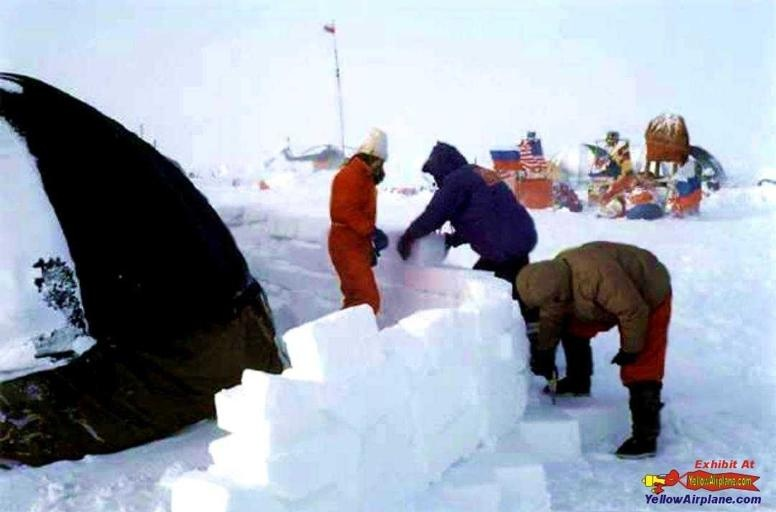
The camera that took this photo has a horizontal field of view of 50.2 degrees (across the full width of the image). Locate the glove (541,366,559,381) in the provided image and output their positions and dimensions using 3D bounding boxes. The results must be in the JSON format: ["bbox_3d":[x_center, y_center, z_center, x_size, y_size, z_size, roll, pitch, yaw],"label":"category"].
[{"bbox_3d":[1.134,0.831,5.780,0.083,0.041,0.116,0,-1,-5],"label":"glove"}]

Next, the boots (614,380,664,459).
[{"bbox_3d":[1.708,1.091,5.655,0.377,0.585,0.293,-3,-3,-17],"label":"boots"}]

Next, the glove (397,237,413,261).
[{"bbox_3d":[0.128,-0.045,6.365,0.066,0.167,0.115,0,5,-29],"label":"glove"}]

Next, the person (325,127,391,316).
[{"bbox_3d":[-0.182,-0.250,6.493,0.496,1.399,0.517,-10,18,-29],"label":"person"}]

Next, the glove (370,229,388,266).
[{"bbox_3d":[-0.069,-0.061,6.598,0.179,0.251,0.092,19,2,7],"label":"glove"}]

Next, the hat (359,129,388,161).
[{"bbox_3d":[-0.123,-0.879,6.550,0.233,0.198,0.227,8,0,33],"label":"hat"}]

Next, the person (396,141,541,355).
[{"bbox_3d":[0.637,-0.202,6.360,1.063,1.211,0.711,2,16,12],"label":"person"}]

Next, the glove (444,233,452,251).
[{"bbox_3d":[0.482,-0.092,6.427,0.035,0.115,0.080,5,4,6],"label":"glove"}]

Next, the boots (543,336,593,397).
[{"bbox_3d":[1.379,0.819,6.012,0.415,0.579,0.323,2,-2,17],"label":"boots"}]
